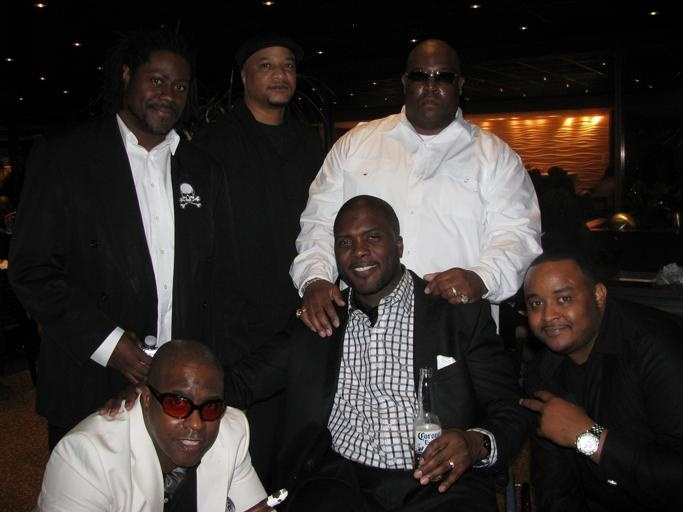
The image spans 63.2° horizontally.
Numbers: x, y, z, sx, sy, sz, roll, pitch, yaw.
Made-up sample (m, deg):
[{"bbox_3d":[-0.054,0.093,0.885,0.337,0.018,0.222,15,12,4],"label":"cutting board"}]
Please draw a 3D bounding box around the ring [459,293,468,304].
[{"bbox_3d":[0.560,0.193,2.524,0.034,0.039,0.013,9,29,-9],"label":"ring"}]

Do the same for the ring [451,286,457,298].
[{"bbox_3d":[0.510,0.160,2.511,0.029,0.034,0.009,-2,-30,-20],"label":"ring"}]

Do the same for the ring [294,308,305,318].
[{"bbox_3d":[-0.199,0.277,2.702,0.024,0.057,0.045,2,25,-31],"label":"ring"}]

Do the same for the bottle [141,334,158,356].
[{"bbox_3d":[-0.858,0.399,2.481,0.122,0.100,0.034,-2,-8,0],"label":"bottle"}]

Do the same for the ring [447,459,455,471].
[{"bbox_3d":[0.429,0.811,2.162,0.039,0.033,0.010,1,-15,-35],"label":"ring"}]
